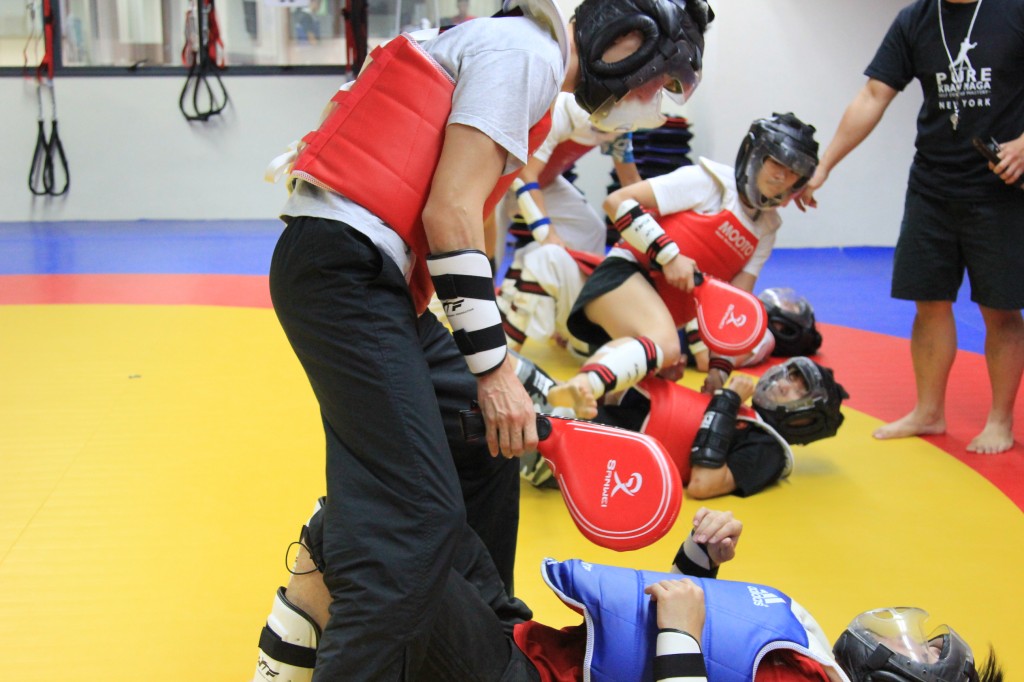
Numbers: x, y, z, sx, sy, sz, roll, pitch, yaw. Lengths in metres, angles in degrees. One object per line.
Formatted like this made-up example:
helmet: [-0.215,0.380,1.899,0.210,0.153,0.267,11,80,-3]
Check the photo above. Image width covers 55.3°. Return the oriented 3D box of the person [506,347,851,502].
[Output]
person: [0.713,0.324,4.431,1.517,0.685,0.773,7,35,-6]
